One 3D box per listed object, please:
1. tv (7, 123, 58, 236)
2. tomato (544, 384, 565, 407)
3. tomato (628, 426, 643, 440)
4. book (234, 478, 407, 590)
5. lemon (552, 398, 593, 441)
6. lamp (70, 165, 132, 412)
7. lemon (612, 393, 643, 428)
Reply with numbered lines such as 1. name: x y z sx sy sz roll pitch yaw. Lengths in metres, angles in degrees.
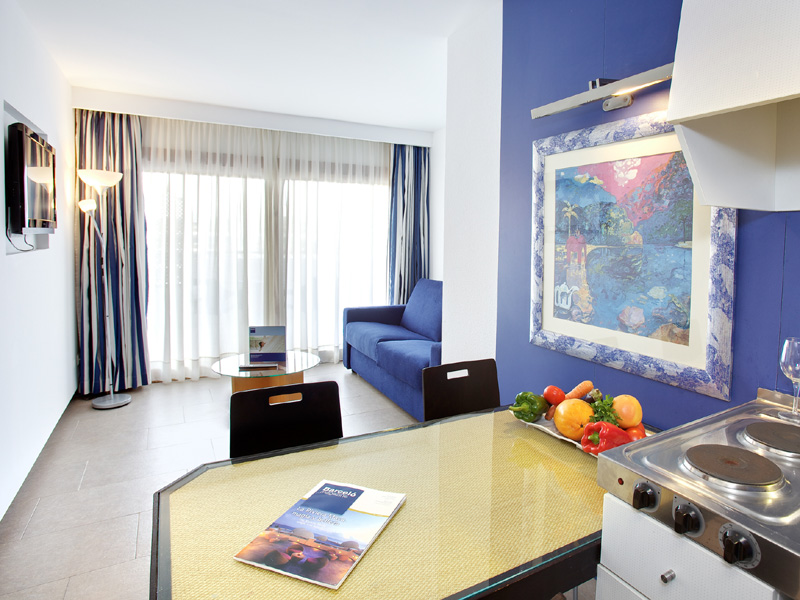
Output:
1. tv: -2.218 -0.713 3.308 0.104 0.733 0.765 1 8 -15
2. tomato: 0.604 0.373 2.168 0.073 0.075 0.076 1 1 15
3. tomato: 0.812 0.460 1.912 0.045 0.046 0.046 -3 -2 18
4. book: -0.212 0.653 1.571 0.298 0.105 0.422 6 11 30
5. lemon: 0.612 0.428 2.045 0.131 0.133 0.132 -34 -7 -16
6. lamp: -2.507 -0.055 4.768 0.427 2.006 0.462 -2 5 25
7. lemon: 0.797 0.390 1.993 0.109 0.110 0.103 6 3 -45
